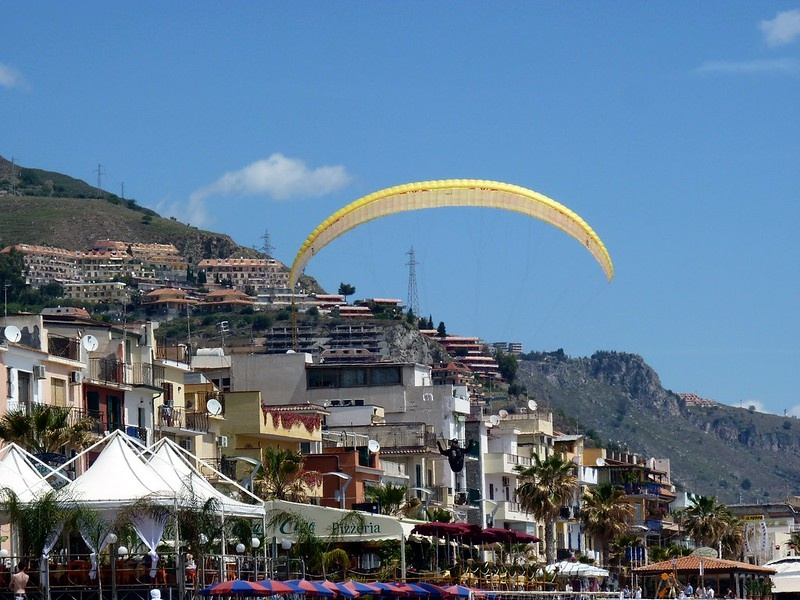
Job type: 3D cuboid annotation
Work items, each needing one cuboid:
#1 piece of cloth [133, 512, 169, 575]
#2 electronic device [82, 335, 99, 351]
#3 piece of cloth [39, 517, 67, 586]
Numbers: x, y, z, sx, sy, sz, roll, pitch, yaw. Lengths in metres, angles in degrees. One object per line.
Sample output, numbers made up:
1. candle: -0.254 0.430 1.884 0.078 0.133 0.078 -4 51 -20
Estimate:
1. piece of cloth: -11.707 11.540 89.697 2.120 2.972 2.418 -2 -19 -1
2. electronic device: -17.430 2.458 106.995 0.405 0.898 0.857 -2 -3 35
3. piece of cloth: -16.182 11.891 88.420 0.931 3.195 1.388 3 -11 -11
